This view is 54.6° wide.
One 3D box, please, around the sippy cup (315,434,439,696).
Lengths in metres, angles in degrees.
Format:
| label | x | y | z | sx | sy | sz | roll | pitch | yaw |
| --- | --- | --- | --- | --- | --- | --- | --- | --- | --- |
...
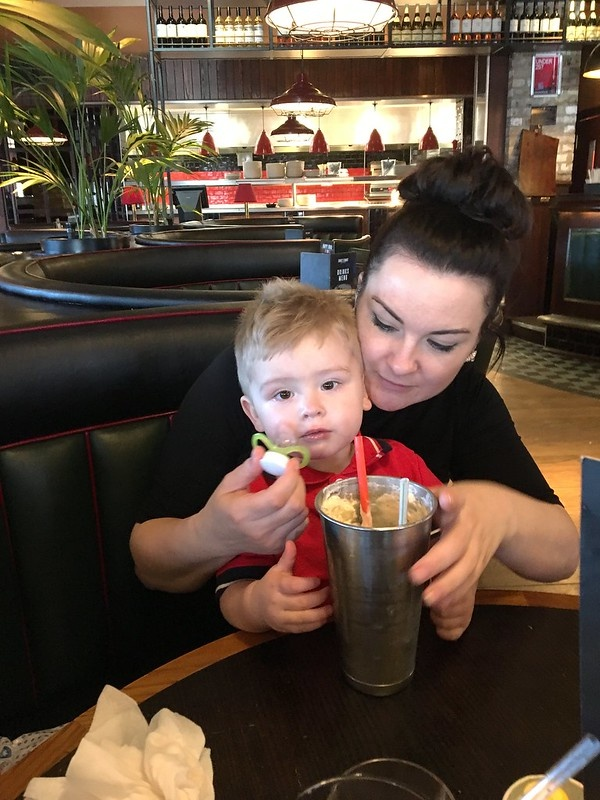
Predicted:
| label | x | y | z | sx | sy | sz | roll | pitch | yaw |
| --- | --- | --- | --- | --- | --- | --- | --- | --- | --- |
| sippy cup | 0.073 | 0.182 | 0.520 | 0.100 | 0.210 | 0.114 | -6 | 6 | -13 |

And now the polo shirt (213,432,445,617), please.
| label | x | y | z | sx | sy | sz | roll | pitch | yaw |
| --- | --- | --- | --- | --- | --- | --- | --- | --- | --- |
| polo shirt | 0.063 | 0.117 | 0.910 | 0.288 | 0.336 | 0.246 | -5 | 12 | -23 |
